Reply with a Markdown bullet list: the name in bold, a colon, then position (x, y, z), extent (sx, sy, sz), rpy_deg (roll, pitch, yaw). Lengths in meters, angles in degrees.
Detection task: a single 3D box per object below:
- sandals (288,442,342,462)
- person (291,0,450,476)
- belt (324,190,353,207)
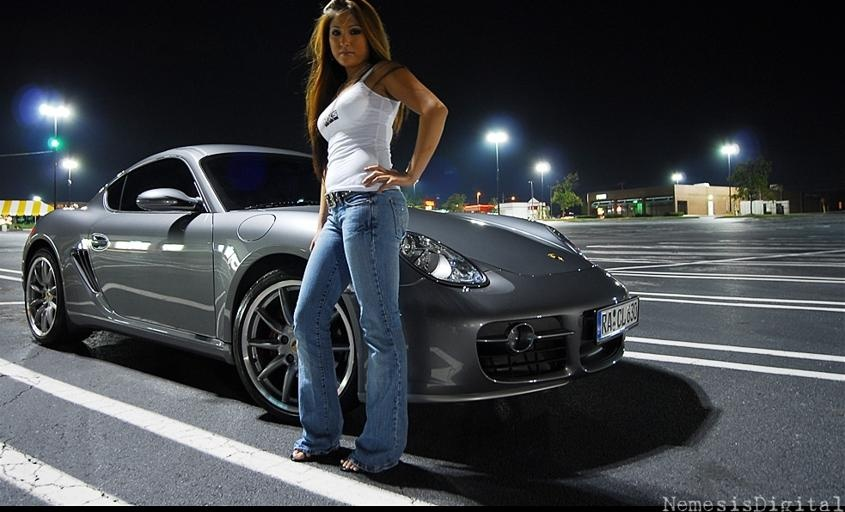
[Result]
- **sandals**: position (-0.683, 1.294, 2.804), extent (0.340, 0.133, 0.127), rpy_deg (4, 2, -10)
- **person**: position (-0.357, -0.128, 2.737), extent (1.008, 2.898, 0.557), rpy_deg (1, 8, 6)
- **belt**: position (-0.497, -0.336, 2.609), extent (0.092, 0.051, 0.126), rpy_deg (-21, 1, -14)
